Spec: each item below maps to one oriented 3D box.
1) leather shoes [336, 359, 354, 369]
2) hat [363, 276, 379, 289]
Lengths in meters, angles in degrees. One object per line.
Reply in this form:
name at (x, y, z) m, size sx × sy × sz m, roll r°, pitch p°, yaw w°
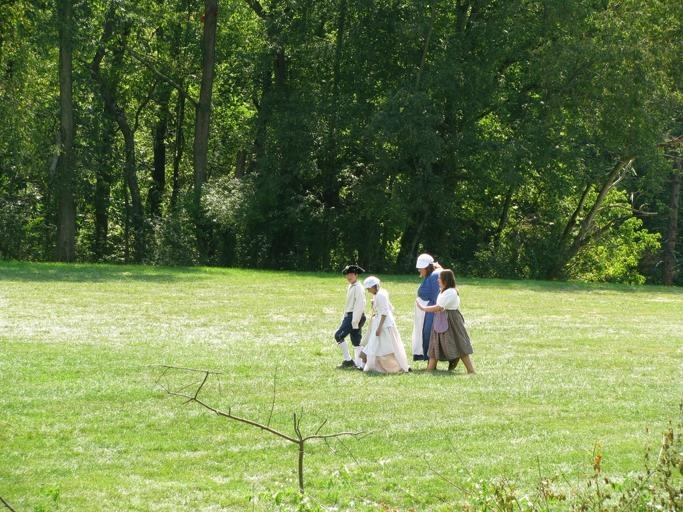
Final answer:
leather shoes at (0.100, 3.782, 51.138) m, size 0.672 × 0.291 × 0.231 m, roll 1°, pitch -1°, yaw 0°
hat at (1.027, 0.915, 50.931) m, size 0.474 × 0.313 × 0.353 m, roll -1°, pitch -4°, yaw -5°
